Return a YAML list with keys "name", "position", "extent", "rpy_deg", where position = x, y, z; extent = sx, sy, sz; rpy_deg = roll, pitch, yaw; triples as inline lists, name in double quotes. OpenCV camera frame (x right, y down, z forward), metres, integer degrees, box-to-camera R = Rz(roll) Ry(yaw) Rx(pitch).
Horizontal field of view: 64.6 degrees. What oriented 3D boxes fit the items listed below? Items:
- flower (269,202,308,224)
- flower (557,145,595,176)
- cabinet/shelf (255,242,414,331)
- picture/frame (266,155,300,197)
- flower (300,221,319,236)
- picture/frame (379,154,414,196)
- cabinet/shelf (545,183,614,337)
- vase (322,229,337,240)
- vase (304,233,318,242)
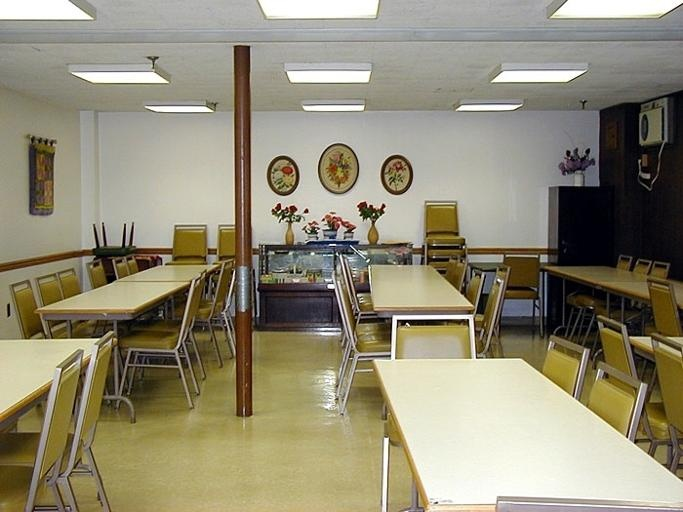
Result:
- name: "flower"
  position: [-0.809, -0.644, 8.306]
  extent: [0.414, 0.220, 0.410]
  rpy_deg: [0, 2, -10]
- name: "flower"
  position: [3.620, -1.474, 8.355]
  extent: [0.496, 0.436, 0.622]
  rpy_deg: [3, 7, 23]
- name: "cabinet/shelf"
  position: [-0.069, 0.510, 8.136]
  extent: [2.291, 1.306, 0.832]
  rpy_deg: [0, -11, -7]
- name: "picture/frame"
  position: [-0.929, -1.304, 8.531]
  extent: [0.630, 0.754, 0.102]
  rpy_deg: [2, 2, 3]
- name: "flower"
  position: [-0.474, -0.449, 8.329]
  extent: [0.243, 0.262, 0.261]
  rpy_deg: [6, -10, -20]
- name: "picture/frame"
  position: [0.872, -1.315, 8.525]
  extent: [0.638, 0.764, 0.092]
  rpy_deg: [2, 2, 3]
- name: "cabinet/shelf"
  position: [3.756, -0.245, 8.236]
  extent: [0.791, 1.751, 0.673]
  rpy_deg: [1, 18, 25]
- name: "vase"
  position: [-0.186, -0.327, 8.244]
  extent: [0.175, 0.129, 0.168]
  rpy_deg: [1, 3, 44]
- name: "vase"
  position: [-0.474, -0.282, 8.256]
  extent: [0.173, 0.108, 0.158]
  rpy_deg: [-1, 0, 40]
